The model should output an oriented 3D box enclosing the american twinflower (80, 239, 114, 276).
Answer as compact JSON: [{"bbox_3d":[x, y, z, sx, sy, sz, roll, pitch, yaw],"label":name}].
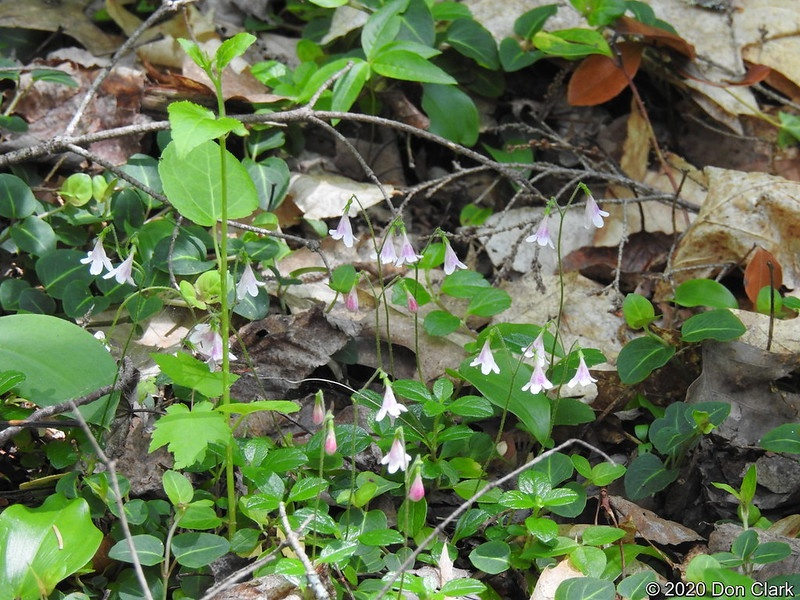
[{"bbox_3d":[-1.754,-0.238,4.532,0.153,0.176,0.150,-24,61,-29],"label":"american twinflower"}]

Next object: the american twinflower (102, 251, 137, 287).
[{"bbox_3d":[-1.586,-0.162,4.446,0.162,0.165,0.130,21,29,-57],"label":"american twinflower"}]
